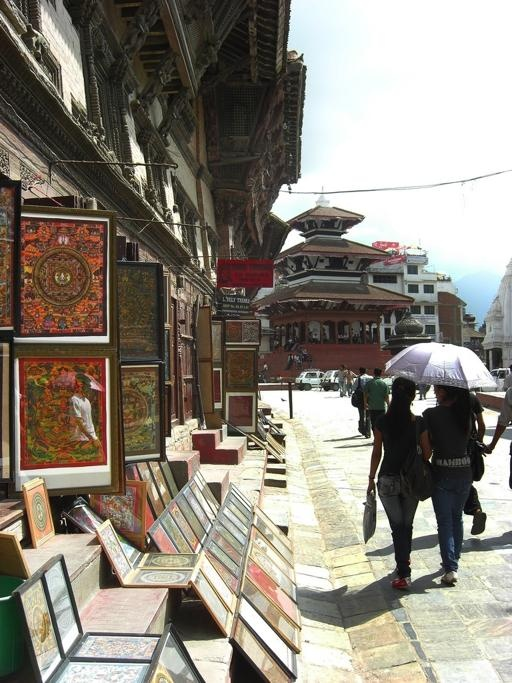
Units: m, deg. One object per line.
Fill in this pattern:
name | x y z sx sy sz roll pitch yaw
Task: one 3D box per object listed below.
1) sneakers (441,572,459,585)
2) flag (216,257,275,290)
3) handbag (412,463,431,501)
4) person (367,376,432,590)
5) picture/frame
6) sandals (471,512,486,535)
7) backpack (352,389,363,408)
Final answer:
sneakers | 1.539 1.879 4.267 0.128 0.115 0.144 -3 -1 19
flag | -0.372 -2.009 15.940 1.987 1.065 0.198 0 1 6
handbag | 1.362 1.122 4.319 0.184 0.309 0.076 -2 -1 -40
person | 1.205 1.154 4.495 0.478 1.721 0.472 -3 -1 -13
picture/frame | -0.636 0.415 3.647 1.662 2.499 2.568 -3 0 1
sandals | 2.087 1.701 4.978 0.122 0.250 0.108 5 11 5
backpack | 2.288 1.281 12.041 0.254 0.413 0.404 -3 -1 9
